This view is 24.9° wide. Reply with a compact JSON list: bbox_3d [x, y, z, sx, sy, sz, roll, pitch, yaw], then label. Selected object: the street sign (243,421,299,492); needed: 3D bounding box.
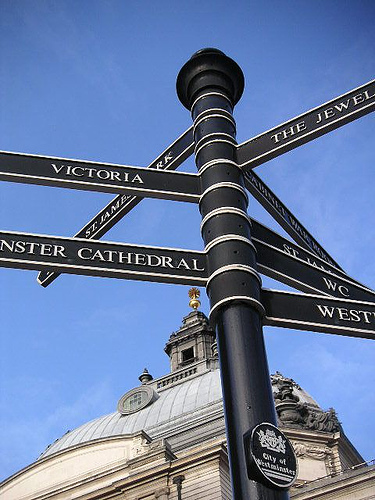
[{"bbox_3d":[0.559,1.395,5.702,0.396,0.448,0.201,10,-37,-19],"label":"street sign"}]
